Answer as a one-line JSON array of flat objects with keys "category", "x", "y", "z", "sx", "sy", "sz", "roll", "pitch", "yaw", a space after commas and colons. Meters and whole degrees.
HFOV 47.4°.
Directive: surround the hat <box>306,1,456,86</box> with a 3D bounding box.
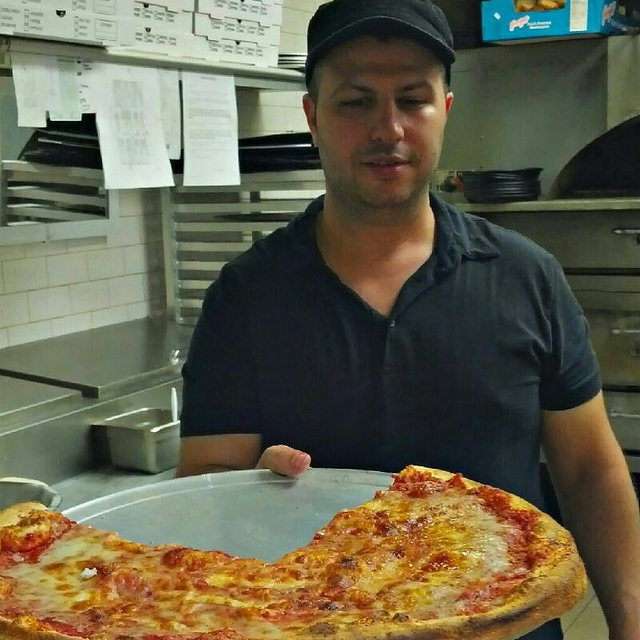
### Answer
[{"category": "hat", "x": 0.082, "y": -0.377, "z": 0.996, "sx": 0.173, "sy": 0.096, "sz": 0.209, "roll": 0, "pitch": 4, "yaw": 0}]
